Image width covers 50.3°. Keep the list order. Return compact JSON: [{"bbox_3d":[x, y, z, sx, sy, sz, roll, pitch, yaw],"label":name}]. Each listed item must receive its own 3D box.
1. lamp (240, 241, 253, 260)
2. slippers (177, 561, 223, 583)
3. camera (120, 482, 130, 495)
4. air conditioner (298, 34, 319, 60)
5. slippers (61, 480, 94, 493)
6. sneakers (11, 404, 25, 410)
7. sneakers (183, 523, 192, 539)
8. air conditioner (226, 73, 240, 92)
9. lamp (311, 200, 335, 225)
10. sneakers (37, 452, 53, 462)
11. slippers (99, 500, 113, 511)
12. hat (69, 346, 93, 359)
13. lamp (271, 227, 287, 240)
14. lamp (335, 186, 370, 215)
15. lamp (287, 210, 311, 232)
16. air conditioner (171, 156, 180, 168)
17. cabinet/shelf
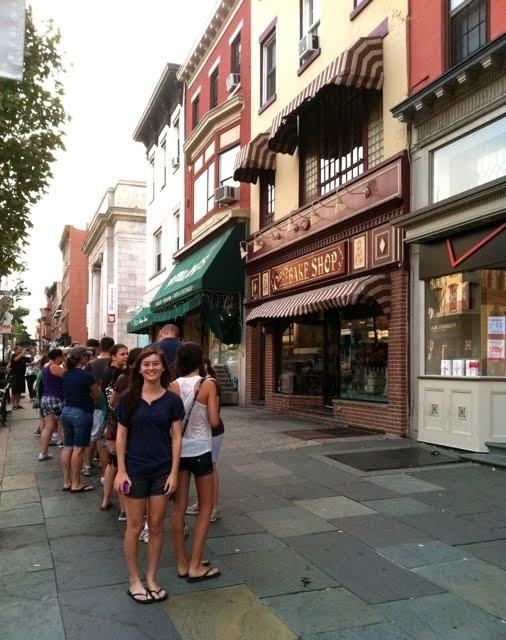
[{"bbox_3d":[-0.232,-2.269,17.241,0.325,0.605,0.693,0,-4,-14],"label":"lamp"},{"bbox_3d":[-0.352,1.733,3.678,0.212,0.070,0.129,-8,2,-14],"label":"slippers"},{"bbox_3d":[-0.785,1.019,3.283,0.065,0.086,0.043,-1,-4,4],"label":"camera"},{"bbox_3d":[1.386,-6.944,13.625,0.295,0.502,0.701,2,-5,-30],"label":"air conditioner"},{"bbox_3d":[-2.175,2.073,6.639,0.261,0.091,0.161,-1,-6,-6],"label":"slippers"},{"bbox_3d":[-7.680,2.819,17.550,0.408,0.209,0.156,-5,-1,18],"label":"sneakers"},{"bbox_3d":[-0.601,1.889,4.865,0.091,0.144,0.300,2,-16,-9],"label":"sneakers"},{"bbox_3d":[-0.677,-8.163,18.437,0.384,0.657,0.778,1,-4,-20],"label":"air conditioner"},{"bbox_3d":[1.630,-2.642,12.950,0.169,0.517,1.143,1,-5,-18],"label":"lamp"},{"bbox_3d":[-3.391,2.205,8.794,0.093,0.143,0.286,6,12,35],"label":"sneakers"},{"bbox_3d":[-1.590,1.996,5.831,0.053,0.077,0.181,-1,-20,11],"label":"slippers"},{"bbox_3d":[-2.199,0.402,6.956,0.303,0.192,0.212,2,1,-41],"label":"hat"},{"bbox_3d":[0.708,-2.441,15.138,0.243,0.566,0.488,4,-6,-20],"label":"lamp"},{"bbox_3d":[2.071,-2.562,11.534,0.289,0.594,0.965,-23,13,-16],"label":"lamp"},{"bbox_3d":[1.213,-2.543,13.960,0.765,0.455,0.770,-22,19,-32],"label":"lamp"},{"bbox_3d":[-3.641,-7.553,25.335,0.355,0.806,0.601,2,-2,-2],"label":"air conditioner"},{"bbox_3d":[3.376,0.043,9.162,0.477,1.716,0.865,4,-6,-26],"label":"cabinet/shelf"}]
